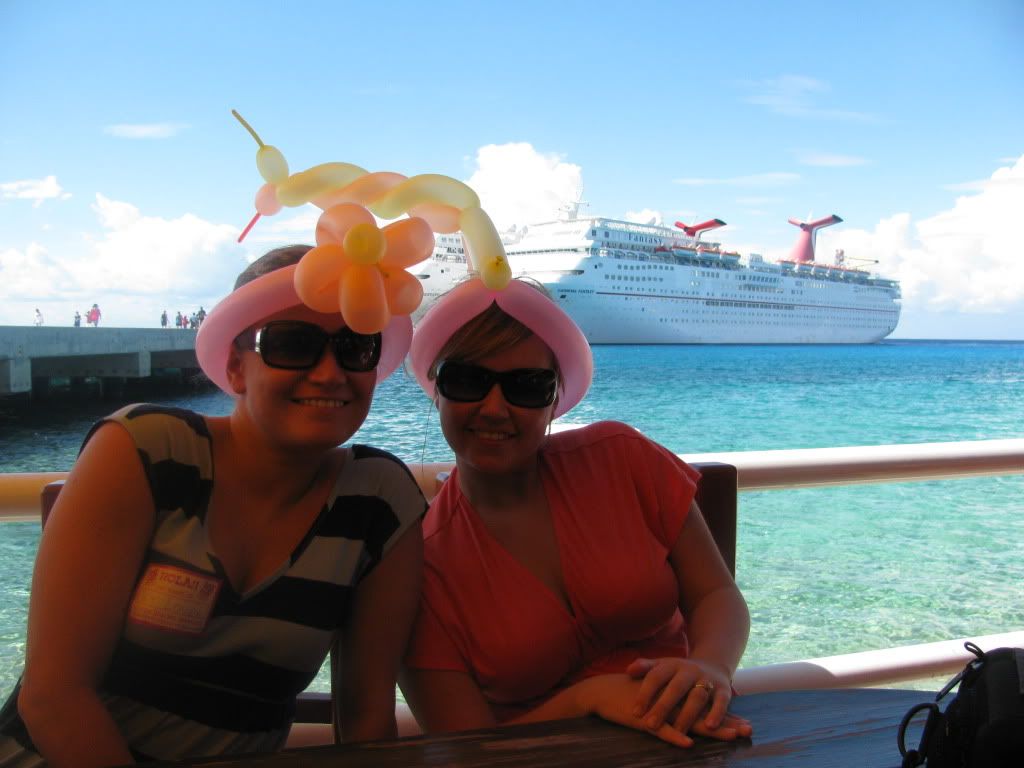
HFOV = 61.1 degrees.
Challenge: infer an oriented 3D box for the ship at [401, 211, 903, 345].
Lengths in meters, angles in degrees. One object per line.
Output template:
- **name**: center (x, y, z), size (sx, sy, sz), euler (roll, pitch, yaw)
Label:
- **ship**: center (10.718, -5.801, 52.903), size (27.464, 6.842, 6.636), euler (0, -13, -23)

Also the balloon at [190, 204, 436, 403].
- **balloon**: center (-0.479, -0.179, 1.955), size (0.371, 0.458, 0.331), euler (3, 6, -37)

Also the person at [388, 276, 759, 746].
- **person**: center (0.286, 0.288, 2.469), size (1.031, 1.300, 0.986), euler (-12, -18, -17)

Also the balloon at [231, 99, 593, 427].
- **balloon**: center (-0.256, -0.222, 2.055), size (0.787, 0.555, 0.333), euler (34, -19, -18)

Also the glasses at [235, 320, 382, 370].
- **glasses**: center (-0.442, -0.085, 1.910), size (0.283, 0.106, 0.208), euler (-2, 3, -33)
